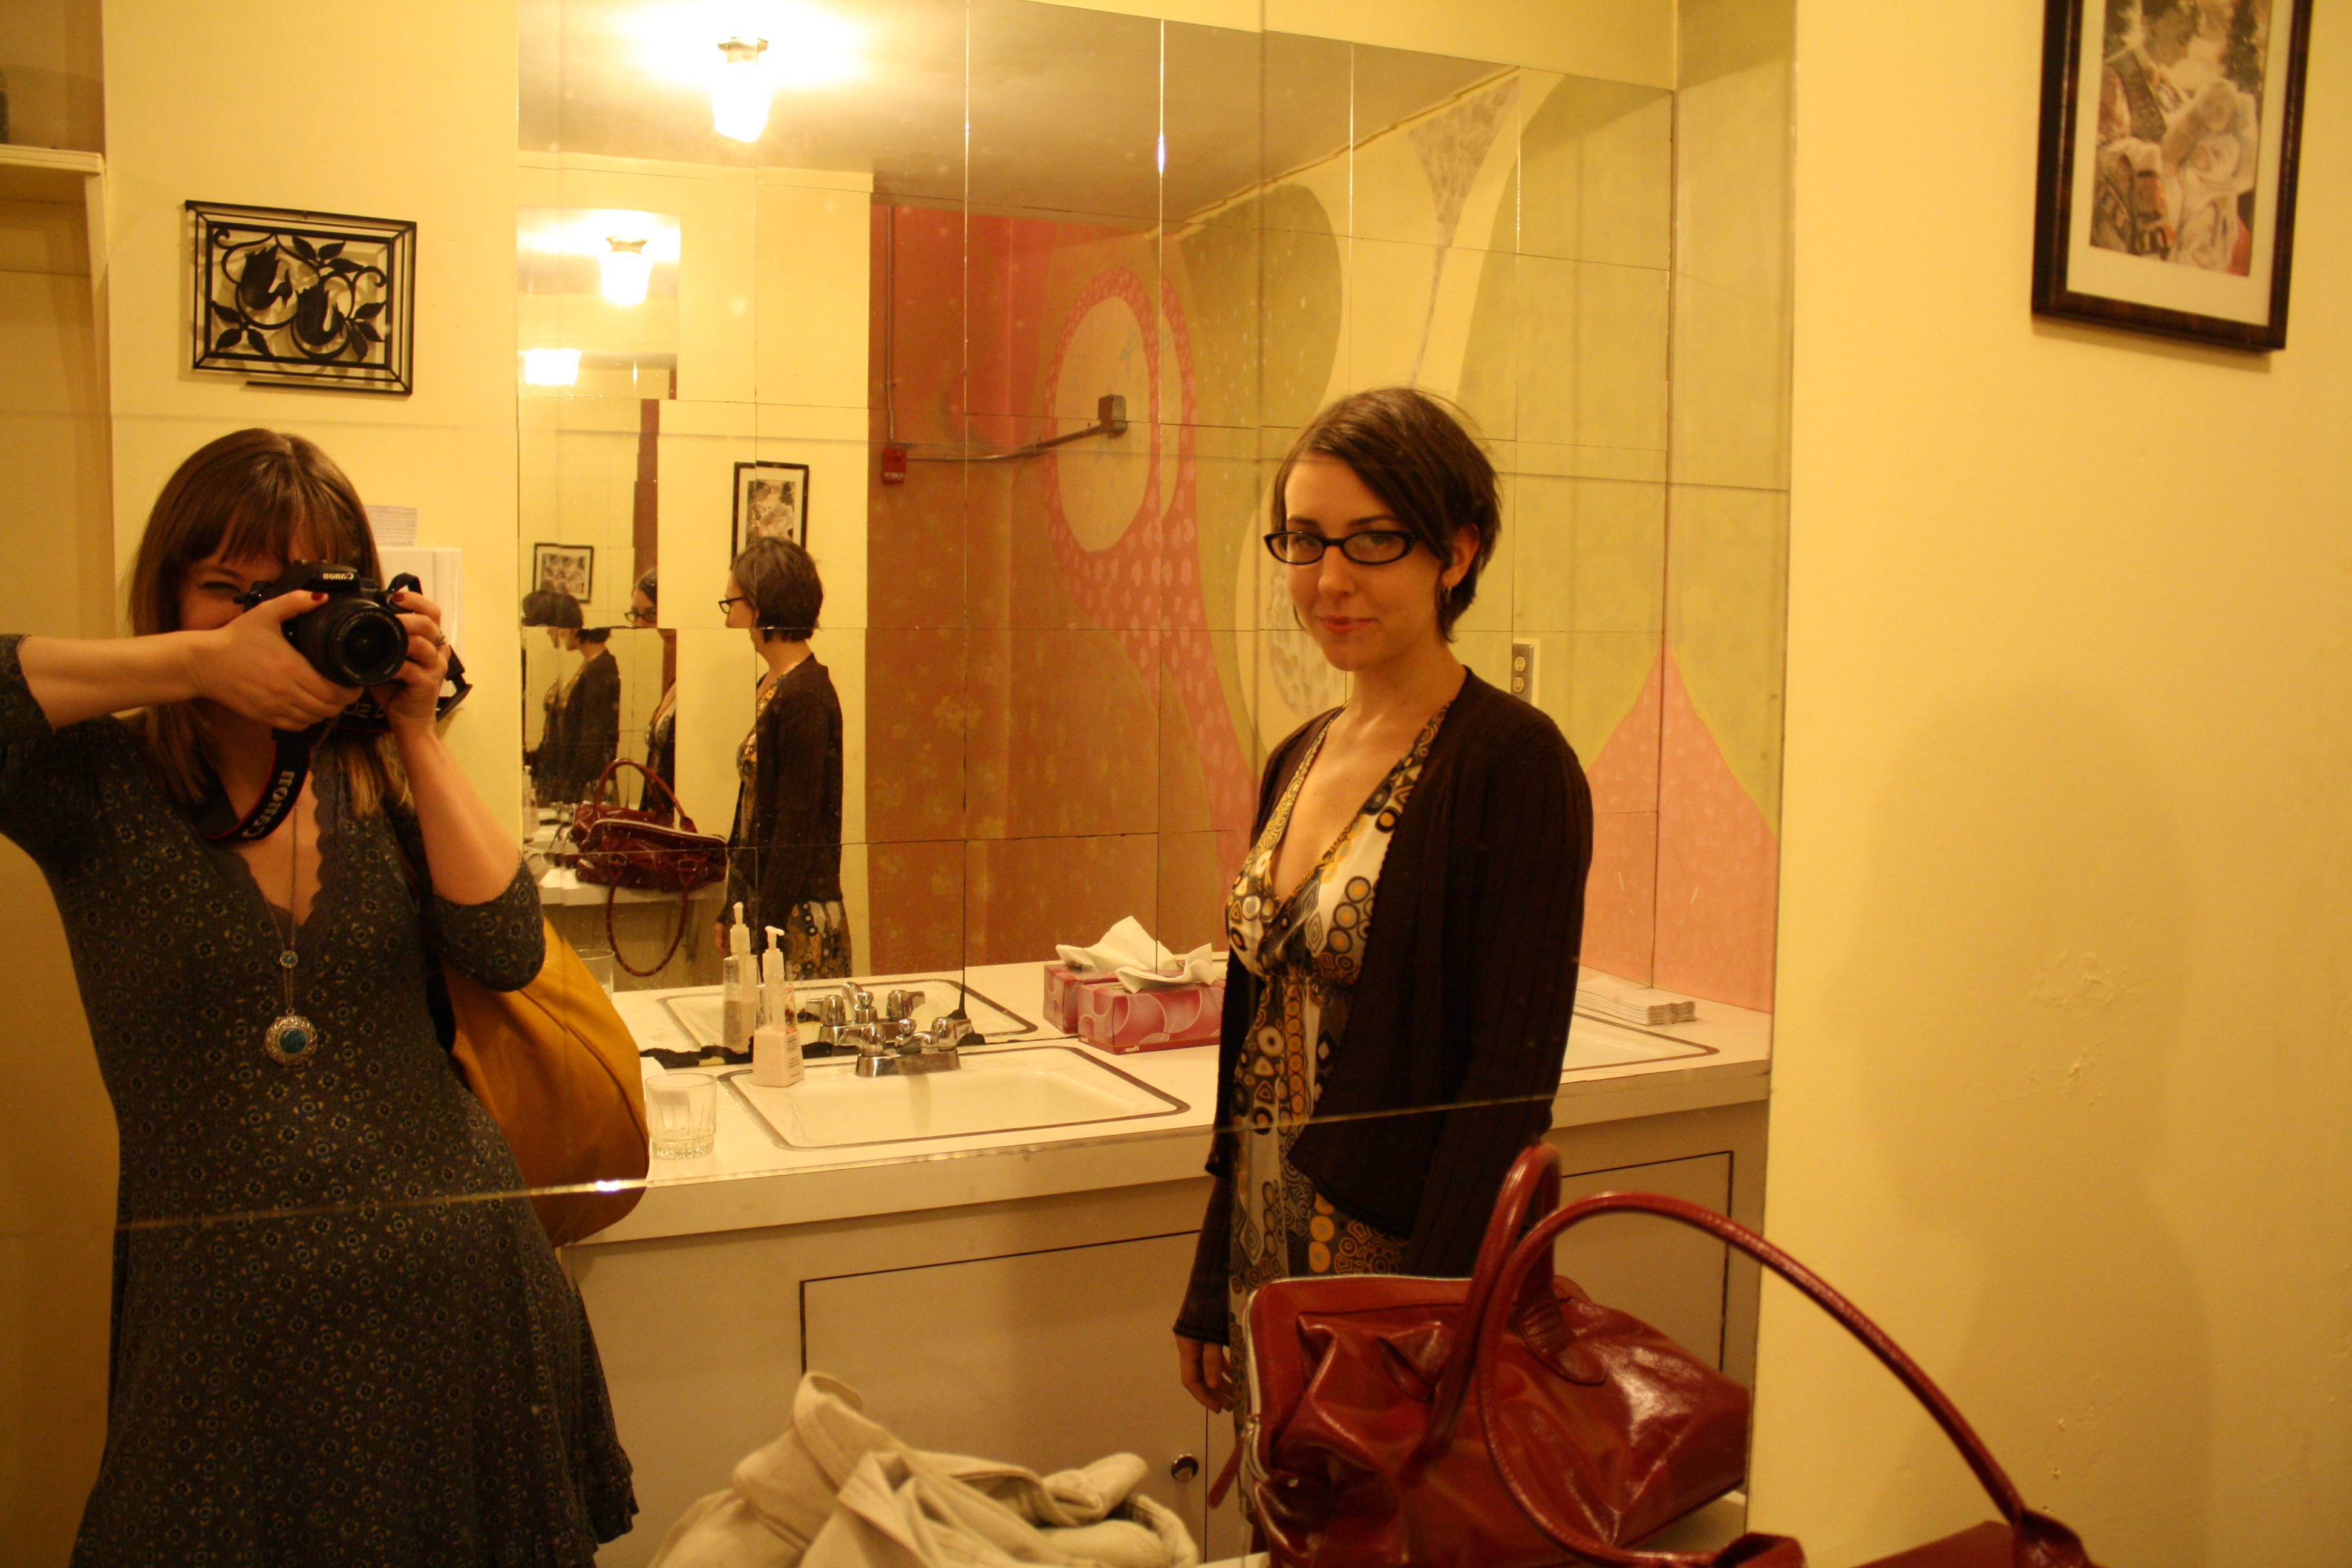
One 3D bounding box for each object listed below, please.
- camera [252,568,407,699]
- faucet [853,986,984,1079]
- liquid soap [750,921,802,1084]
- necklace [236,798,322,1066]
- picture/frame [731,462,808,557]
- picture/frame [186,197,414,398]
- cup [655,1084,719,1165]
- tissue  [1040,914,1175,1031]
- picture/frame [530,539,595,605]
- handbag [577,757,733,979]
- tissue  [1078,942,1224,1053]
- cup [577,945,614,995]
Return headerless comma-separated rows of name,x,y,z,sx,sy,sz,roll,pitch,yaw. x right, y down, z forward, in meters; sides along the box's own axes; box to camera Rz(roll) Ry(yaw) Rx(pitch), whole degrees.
camera,-0.734,-0.136,1.597,0.151,0.100,0.130,-9,21,-31
faucet,-0.254,0.245,1.783,0.084,0.054,0.085,1,0,-18
liquid soap,-0.378,0.211,1.735,0.044,0.146,0.026,-3,11,-24
necklace,-0.759,0.123,1.577,0.056,0.231,0.059,-4,11,-27
picture/frame,-0.382,-0.258,1.719,0.082,0.112,0.007,-3,7,-26
picture/frame,-0.766,-0.423,1.596,0.175,0.153,0.010,0,3,-18
cup,-0.454,0.315,1.705,0.061,0.070,0.063,-1,-2,0
tissue ,-0.074,0.184,1.823,0.107,0.051,0.105,-7,11,-40
picture/frame,-0.555,-0.191,1.661,0.057,0.062,0.004,-1,-2,-32
handbag,-0.486,0.074,1.703,0.129,0.174,0.074,7,13,-10
tissue ,-0.024,0.204,1.839,0.110,0.046,0.111,-2,0,-20
cup,-0.523,0.170,1.677,0.030,0.035,0.036,5,5,-16
